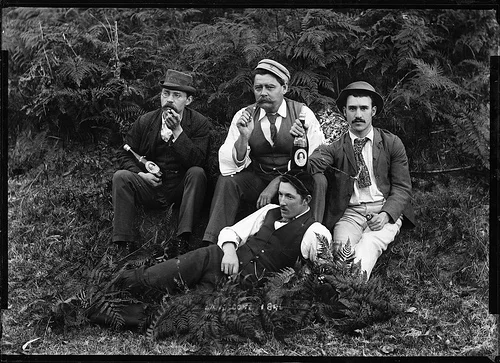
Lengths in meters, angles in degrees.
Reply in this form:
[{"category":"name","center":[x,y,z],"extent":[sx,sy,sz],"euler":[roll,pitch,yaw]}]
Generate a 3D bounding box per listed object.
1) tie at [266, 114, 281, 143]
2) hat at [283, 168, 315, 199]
[{"category":"tie","center":[0.333,-0.753,7.135],"extent":[0.113,0.414,0.104],"euler":[0,-5,2]},{"category":"hat","center":[0.687,-0.003,7.004],"extent":[0.399,0.215,0.285],"euler":[36,2,-20]}]
